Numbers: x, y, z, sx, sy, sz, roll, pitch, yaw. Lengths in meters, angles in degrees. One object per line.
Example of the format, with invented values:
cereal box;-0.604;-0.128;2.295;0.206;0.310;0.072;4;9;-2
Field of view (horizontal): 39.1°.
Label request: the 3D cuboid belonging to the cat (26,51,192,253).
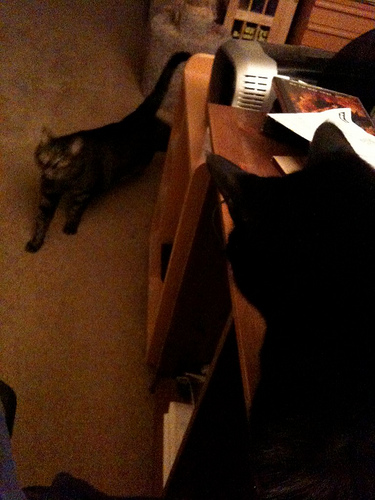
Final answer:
cat;-0.348;-0.424;2.264;0.283;0.541;0.889;25;40;14
